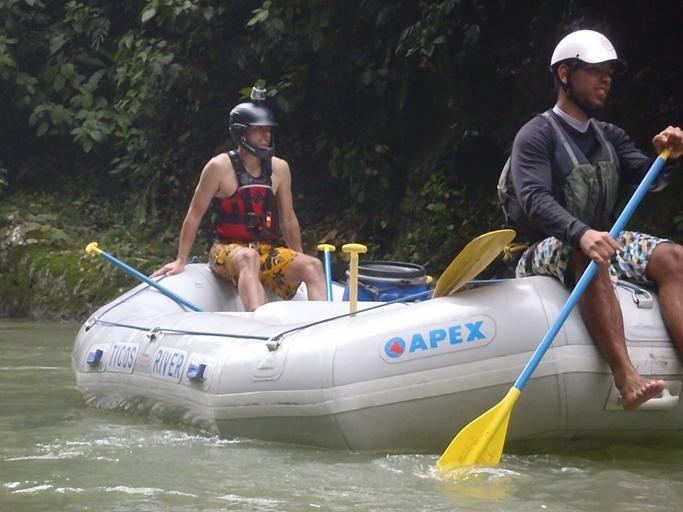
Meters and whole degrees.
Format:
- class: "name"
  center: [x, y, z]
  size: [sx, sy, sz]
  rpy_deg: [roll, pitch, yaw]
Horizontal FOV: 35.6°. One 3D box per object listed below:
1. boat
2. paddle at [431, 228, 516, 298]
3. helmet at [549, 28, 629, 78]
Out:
- class: "boat"
  center: [-0.080, 0.712, 6.873]
  size: [1.630, 0.674, 2.429]
  rpy_deg: [2, -2, -39]
- class: "paddle"
  center: [0.779, 0.034, 6.434]
  size: [0.212, 0.086, 0.800]
  rpy_deg: [28, -42, -15]
- class: "helmet"
  center: [1.497, -1.241, 6.545]
  size: [0.319, 0.178, 0.238]
  rpy_deg: [-6, -2, 44]
